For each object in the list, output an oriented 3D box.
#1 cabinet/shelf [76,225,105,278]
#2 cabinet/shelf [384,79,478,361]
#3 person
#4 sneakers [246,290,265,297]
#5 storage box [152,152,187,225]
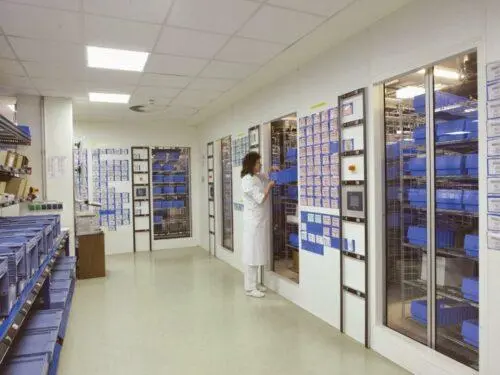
[{"bbox_3d":[-2.829,1.187,6.313,0.473,0.814,0.247,-5,6,-29],"label":"cabinet/shelf"},{"bbox_3d":[1.900,0.188,3.765,1.035,2.846,0.988,2,7,42],"label":"cabinet/shelf"},{"bbox_3d":[0.127,0.531,5.357,0.566,2.113,0.550,1,6,32],"label":"person"},{"bbox_3d":[0.073,1.540,5.238,0.206,0.079,0.105,-2,-2,26],"label":"sneakers"},{"bbox_3d":[-1.901,-0.053,8.624,0.922,1.812,0.301,-4,5,-16],"label":"storage box"}]
